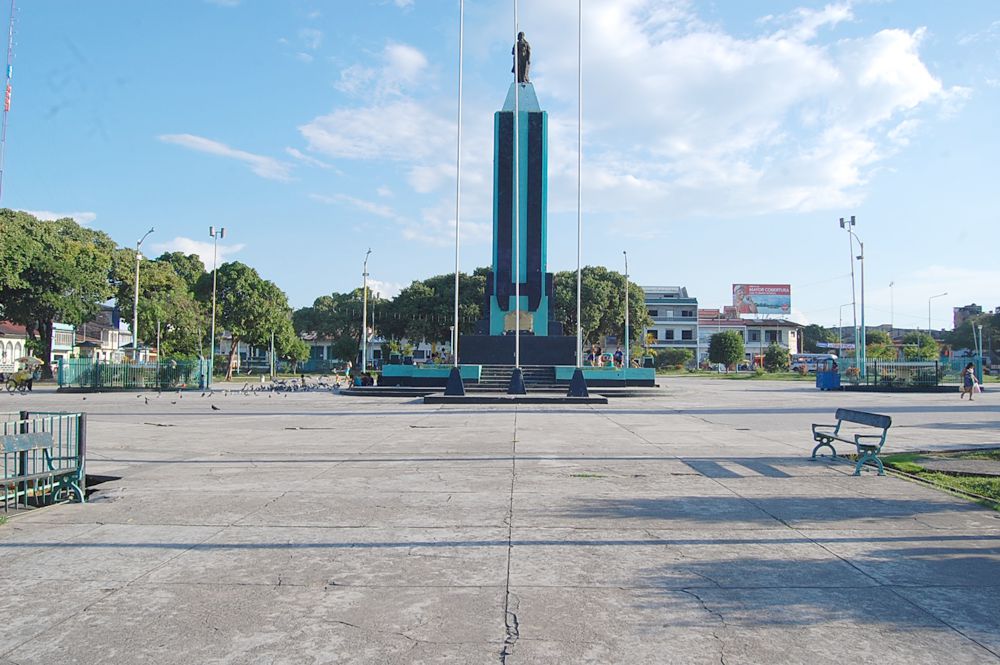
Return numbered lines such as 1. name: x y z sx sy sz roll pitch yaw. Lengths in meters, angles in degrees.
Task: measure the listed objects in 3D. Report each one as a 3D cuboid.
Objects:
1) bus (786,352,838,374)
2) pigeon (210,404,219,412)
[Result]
1. bus: 31.544 3.125 91.238 5.941 2.625 2.676 -2 1 20
2. pigeon: -9.695 2.574 30.035 0.126 0.290 0.459 -8 -1 11
